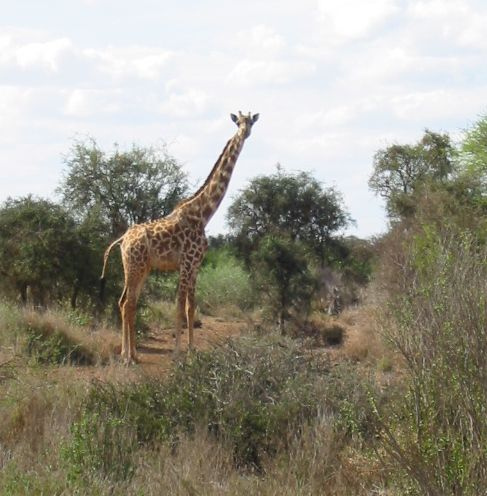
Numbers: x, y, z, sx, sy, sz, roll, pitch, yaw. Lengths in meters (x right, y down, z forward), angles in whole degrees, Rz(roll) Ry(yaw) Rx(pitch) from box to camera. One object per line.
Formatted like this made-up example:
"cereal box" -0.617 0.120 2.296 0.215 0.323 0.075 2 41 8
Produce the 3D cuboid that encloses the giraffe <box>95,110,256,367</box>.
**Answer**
"giraffe" -1.050 -0.289 10.921 2.162 4.197 0.877 1 -2 -34
